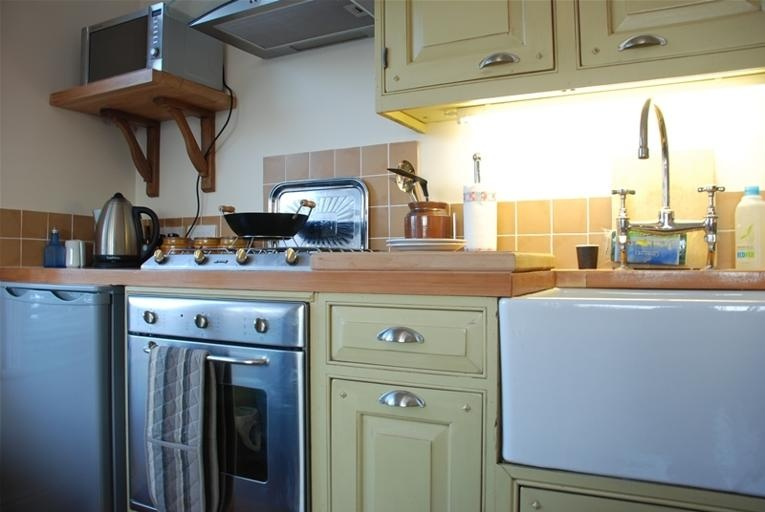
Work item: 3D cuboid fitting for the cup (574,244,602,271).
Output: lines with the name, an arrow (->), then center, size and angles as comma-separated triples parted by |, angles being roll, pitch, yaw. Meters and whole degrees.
cup -> 0.815, 0.004, 2.363 | 0.092, 0.079, 0.095 | 0, -6, 0

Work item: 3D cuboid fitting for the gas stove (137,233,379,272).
gas stove -> -0.570, 0.000, 2.354 | 0.566, 0.100, 1.059 | -1, 1, -38

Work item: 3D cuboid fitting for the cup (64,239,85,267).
cup -> -1.590, -0.014, 3.090 | 0.092, 0.135, 0.118 | 0, 1, -28

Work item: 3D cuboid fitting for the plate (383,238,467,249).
plate -> 0.163, -0.043, 2.176 | 0.278, 0.041, 0.086 | 0, 1, 2

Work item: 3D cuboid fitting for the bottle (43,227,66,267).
bottle -> -1.680, -0.046, 3.064 | 0.095, 0.195, 0.126 | -1, 1, -35

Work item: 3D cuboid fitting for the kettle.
kettle -> -1.248, -0.130, 2.921 | 0.330, 0.360, 0.166 | 0, 1, -3

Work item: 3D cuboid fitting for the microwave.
microwave -> -1.154, -1.038, 3.006 | 0.666, 0.323, 0.482 | -2, -6, 31
